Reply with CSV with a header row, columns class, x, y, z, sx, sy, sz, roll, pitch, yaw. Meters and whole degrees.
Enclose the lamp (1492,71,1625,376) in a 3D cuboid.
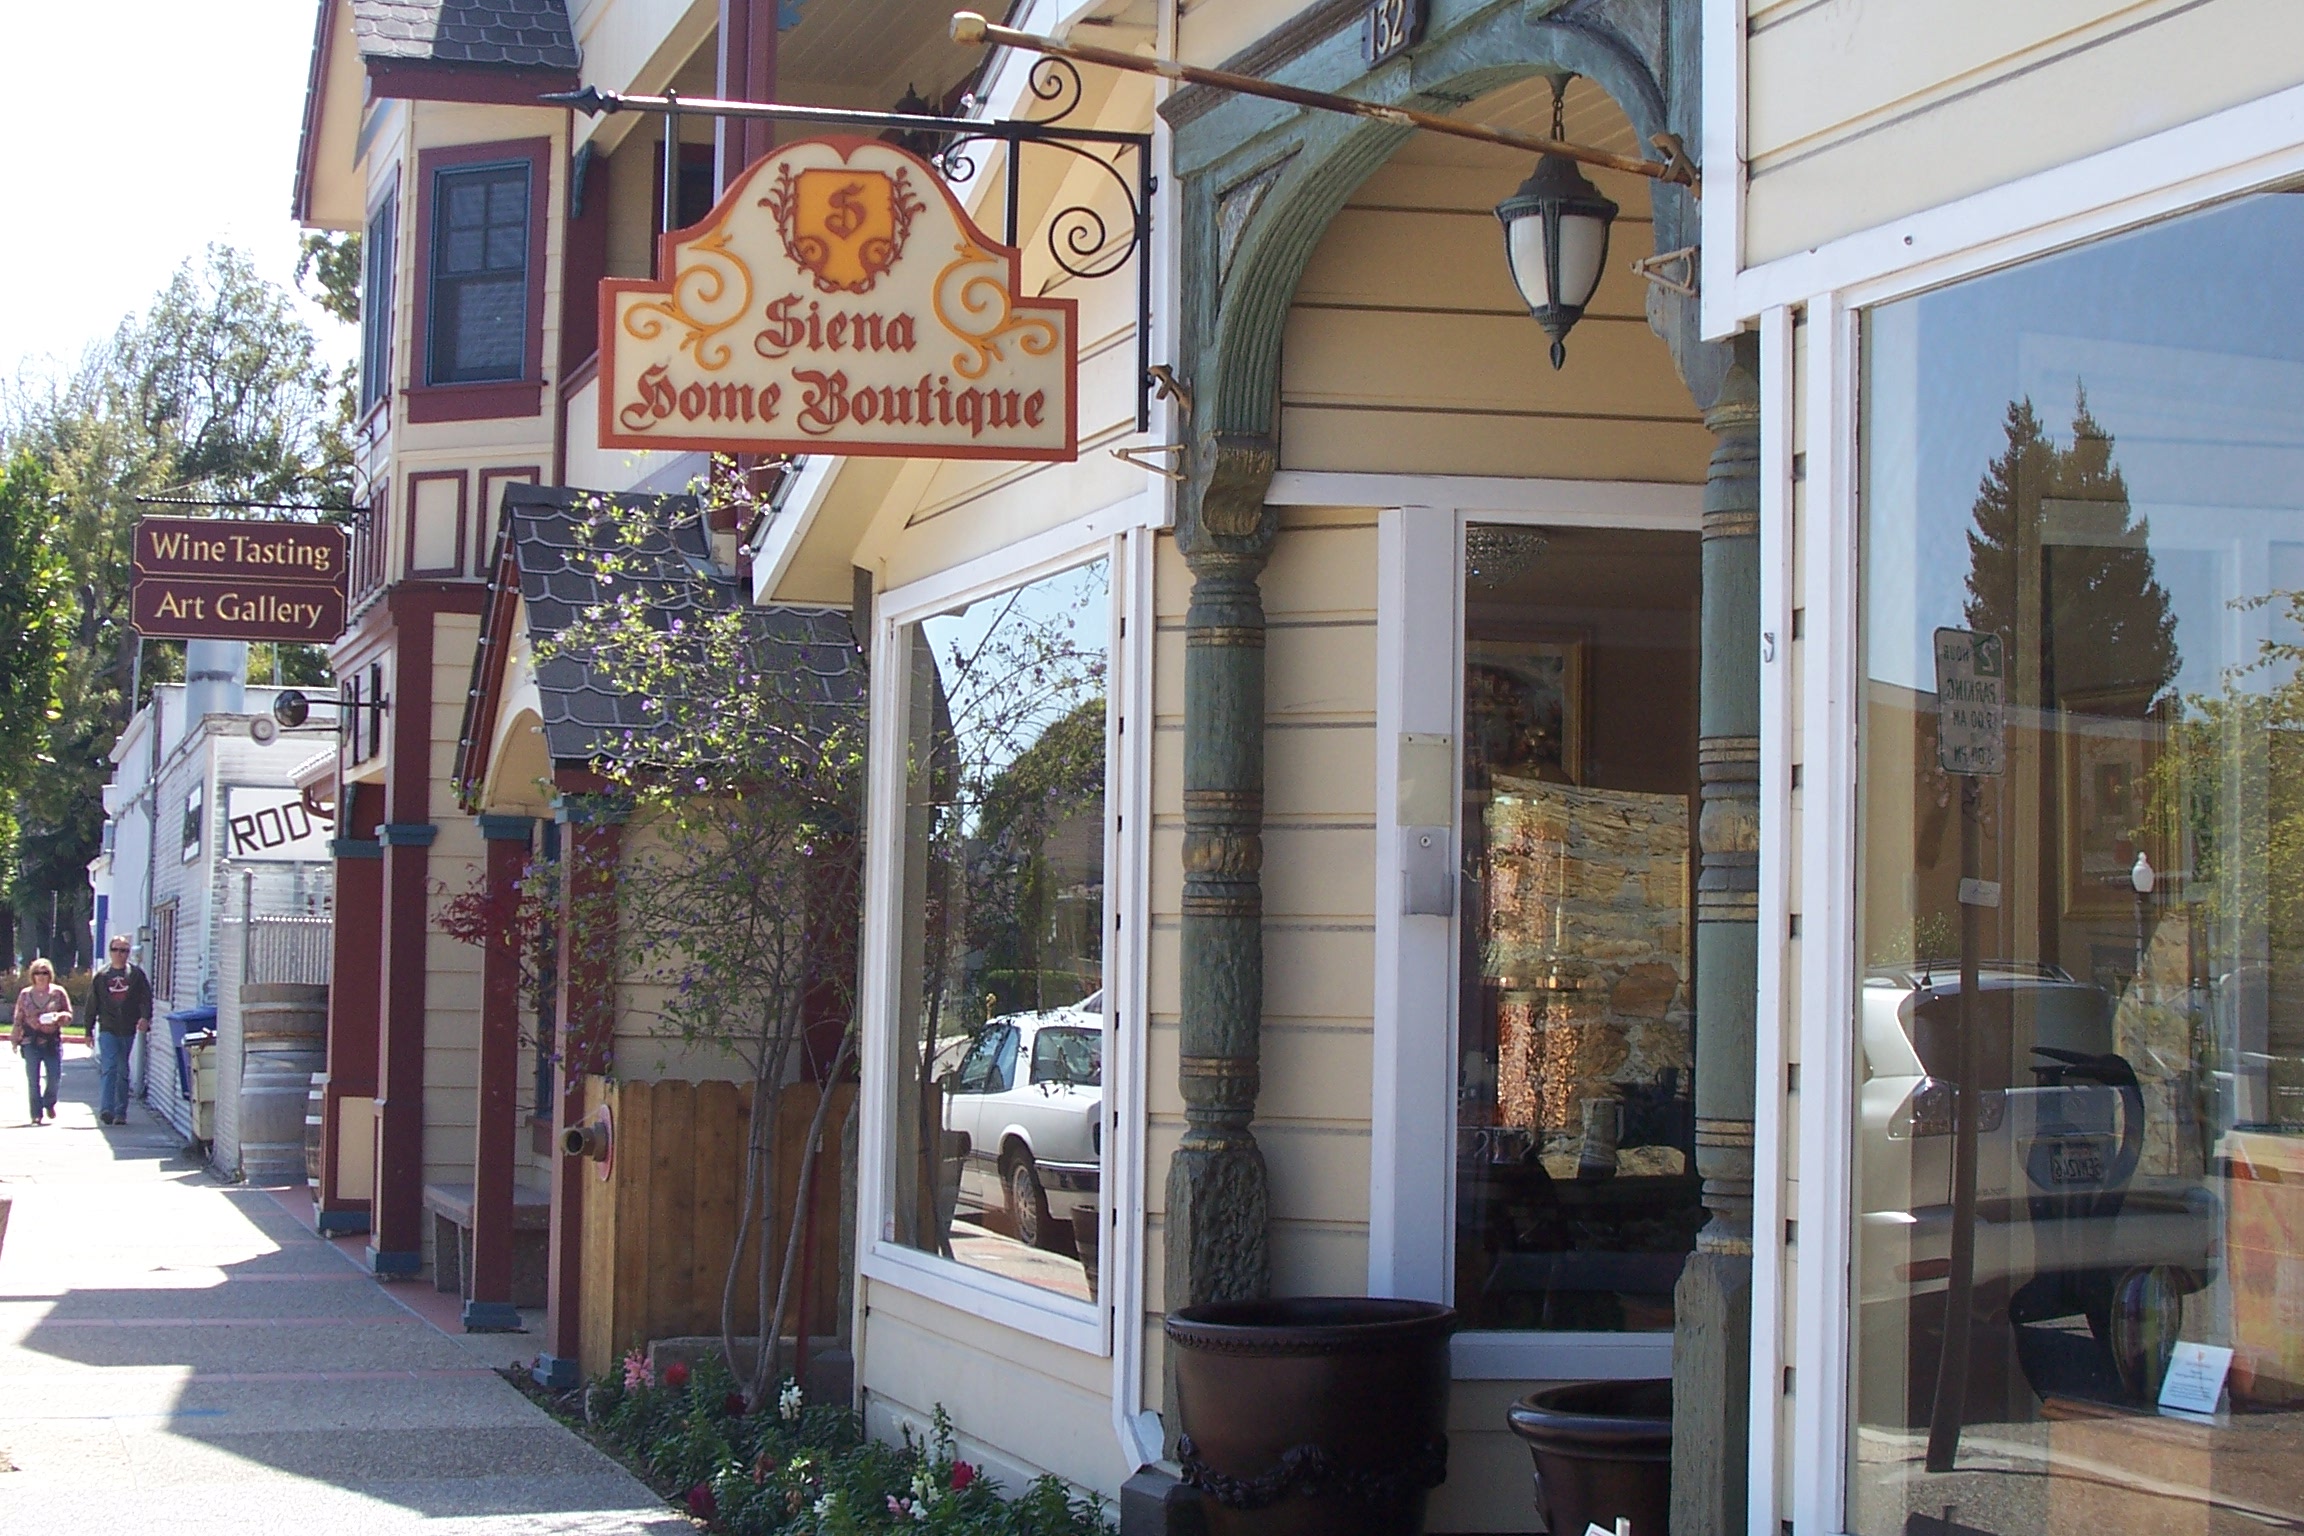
class,x,y,z,sx,sy,sz,roll,pitch,yaw
lamp,1.290,-1.726,7.797,0.302,0.950,0.342,-7,-12,36
